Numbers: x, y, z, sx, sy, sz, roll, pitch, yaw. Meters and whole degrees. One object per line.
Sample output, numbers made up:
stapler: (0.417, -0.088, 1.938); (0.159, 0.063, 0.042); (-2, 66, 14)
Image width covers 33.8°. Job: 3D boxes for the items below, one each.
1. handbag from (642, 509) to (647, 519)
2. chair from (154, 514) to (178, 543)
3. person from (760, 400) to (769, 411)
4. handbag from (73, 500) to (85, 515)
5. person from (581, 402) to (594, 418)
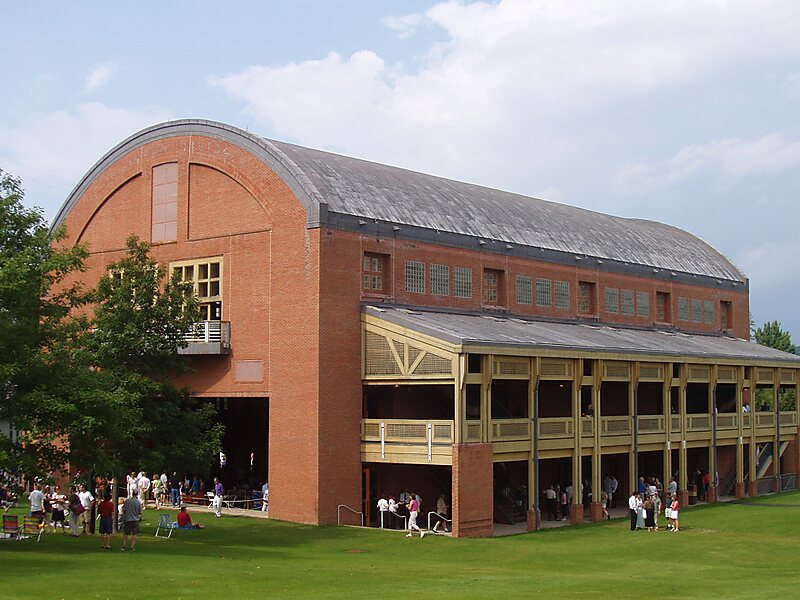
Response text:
handbag: (11.288, 9.973, 60.938); (0.093, 0.435, 0.316); (-13, -18, 37)
chair: (-10.088, 9.770, 56.268); (0.787, 1.132, 1.106); (-1, -8, 34)
person: (25.475, 7.525, 92.141); (0.729, 0.809, 0.748); (-2, -3, 39)
handbag: (-13.687, 8.878, 55.726); (0.213, 0.641, 0.739); (-5, -15, 13)
person: (9.560, 5.711, 67.256); (0.702, 1.060, 1.509); (-2, -4, 14)
